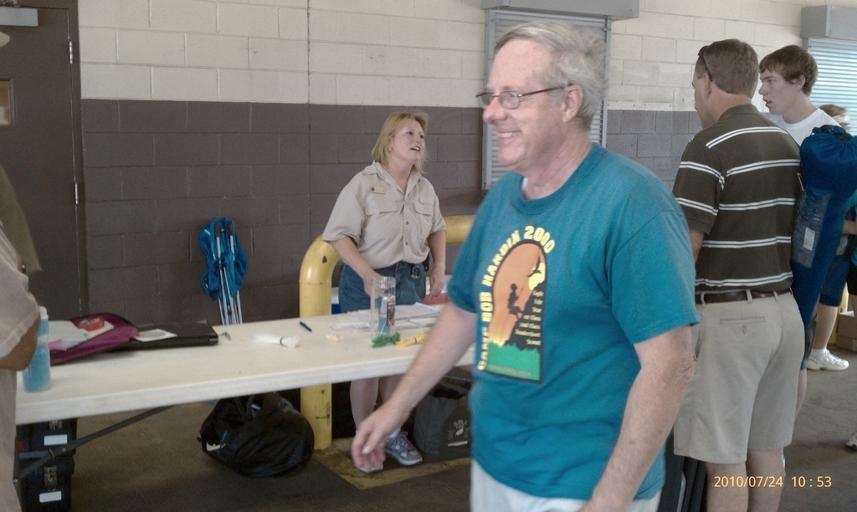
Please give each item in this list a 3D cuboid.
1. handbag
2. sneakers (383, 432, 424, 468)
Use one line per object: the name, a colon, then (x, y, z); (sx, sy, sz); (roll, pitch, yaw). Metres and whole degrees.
handbag: (-1.155, 1.214, 4.330); (0.731, 0.315, 0.527); (8, 19, 10)
sneakers: (-0.189, 1.372, 4.538); (0.148, 0.184, 0.398); (-8, 7, -39)
